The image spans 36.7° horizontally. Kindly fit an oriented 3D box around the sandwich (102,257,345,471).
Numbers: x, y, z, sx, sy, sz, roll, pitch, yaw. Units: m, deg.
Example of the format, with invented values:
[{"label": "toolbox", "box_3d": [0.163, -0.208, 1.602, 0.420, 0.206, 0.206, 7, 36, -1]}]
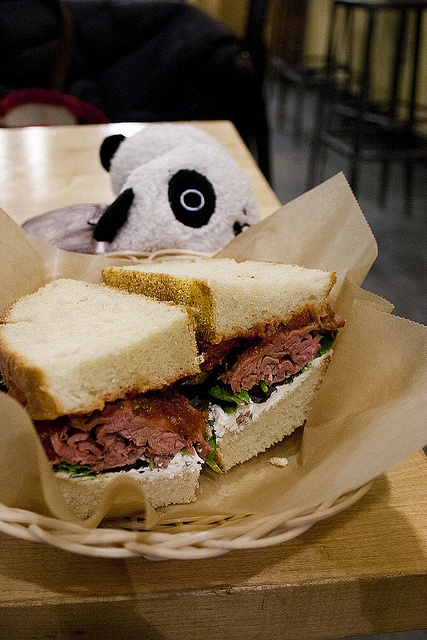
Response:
[{"label": "sandwich", "box_3d": [-0.006, 0.062, 1.130, 0.361, 0.141, 0.355, 25, 34, 35]}]
